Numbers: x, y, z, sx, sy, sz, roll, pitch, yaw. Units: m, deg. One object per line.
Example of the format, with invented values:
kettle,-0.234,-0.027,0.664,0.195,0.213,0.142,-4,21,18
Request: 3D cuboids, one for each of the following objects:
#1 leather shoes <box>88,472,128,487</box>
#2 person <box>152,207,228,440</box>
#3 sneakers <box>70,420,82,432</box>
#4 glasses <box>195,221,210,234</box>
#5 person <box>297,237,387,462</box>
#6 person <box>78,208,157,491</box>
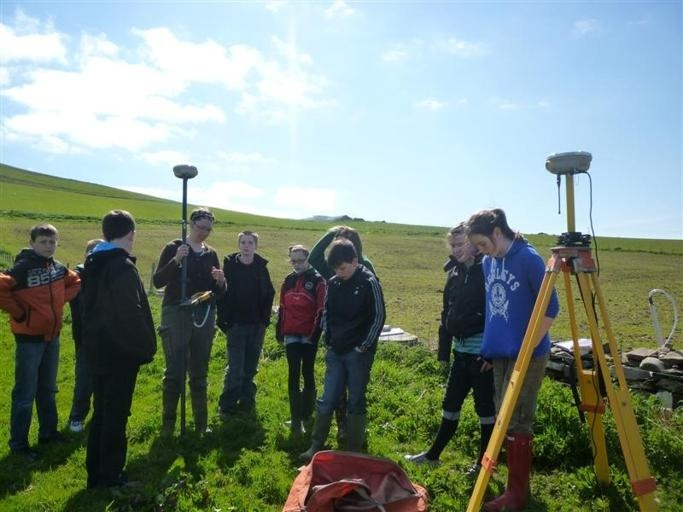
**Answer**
leather shoes,-3.143,3.009,7.324,0.317,0.147,0.279,-6,-10,7
person,-2.539,0.997,9.009,0.984,3.482,1.451,4,10,19
sneakers,-4.308,2.755,8.888,0.152,0.175,0.166,-1,-5,-12
glasses,-2.324,-0.455,9.095,0.220,0.097,0.234,5,-7,-29
person,0.076,1.341,8.162,1.072,3.110,0.938,1,9,3
person,-3.047,1.472,7.464,0.926,3.146,0.887,-4,10,-24
